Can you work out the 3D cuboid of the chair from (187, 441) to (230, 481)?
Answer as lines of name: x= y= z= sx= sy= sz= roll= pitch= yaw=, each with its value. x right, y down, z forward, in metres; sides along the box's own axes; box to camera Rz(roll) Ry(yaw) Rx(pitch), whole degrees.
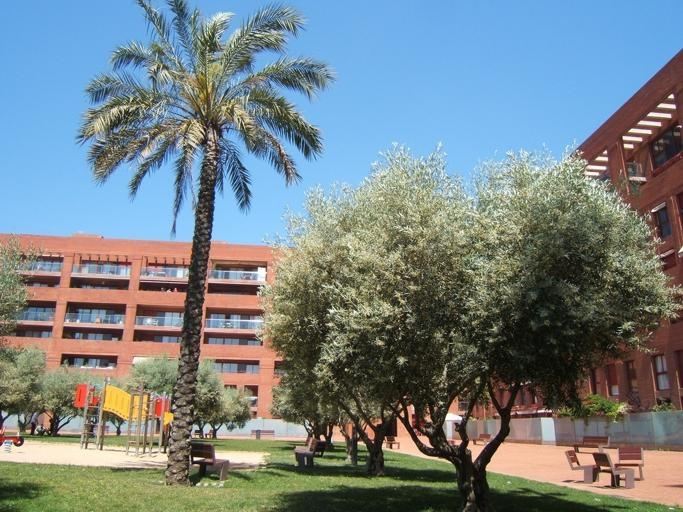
chair: x=-4.724 y=7.298 z=16.753 sx=1.234 sy=1.219 sz=0.862 roll=-11 pitch=-17 yaw=32
